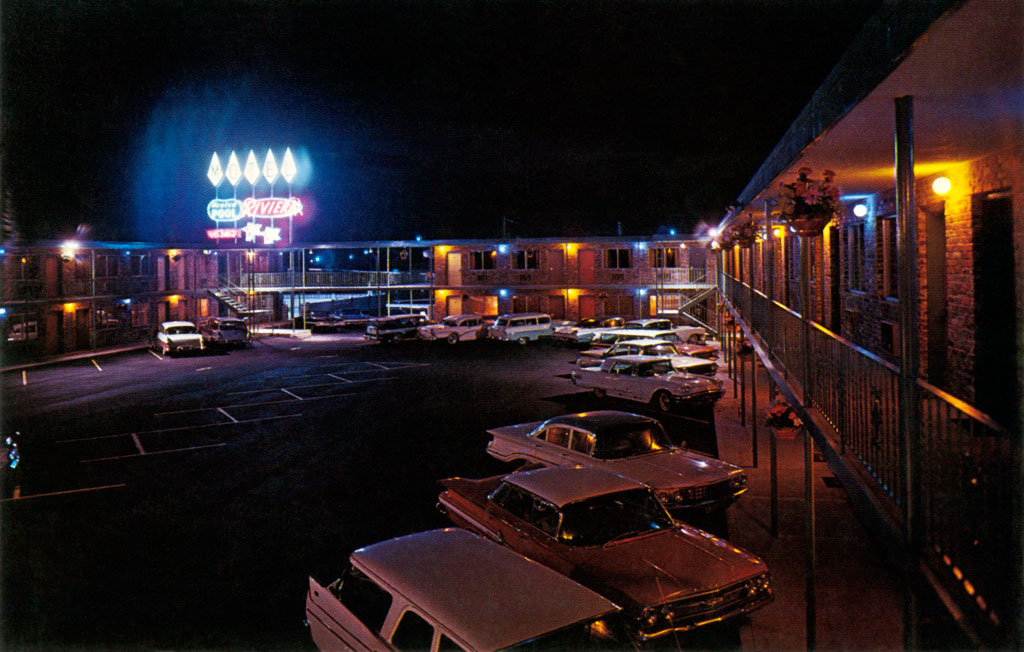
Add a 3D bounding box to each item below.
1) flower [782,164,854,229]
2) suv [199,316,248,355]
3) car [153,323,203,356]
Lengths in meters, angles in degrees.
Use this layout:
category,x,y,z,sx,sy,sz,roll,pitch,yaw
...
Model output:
category,x,y,z,sx,sy,sz,roll,pitch,yaw
flower,5.329,-2.264,13.908,1.079,1.110,1.047,-2,7,3
suv,-15.626,0.512,42.194,1.470,1.238,2.674,-3,11,-32
car,-16.654,0.686,39.167,1.828,1.324,2.911,-6,4,-30
